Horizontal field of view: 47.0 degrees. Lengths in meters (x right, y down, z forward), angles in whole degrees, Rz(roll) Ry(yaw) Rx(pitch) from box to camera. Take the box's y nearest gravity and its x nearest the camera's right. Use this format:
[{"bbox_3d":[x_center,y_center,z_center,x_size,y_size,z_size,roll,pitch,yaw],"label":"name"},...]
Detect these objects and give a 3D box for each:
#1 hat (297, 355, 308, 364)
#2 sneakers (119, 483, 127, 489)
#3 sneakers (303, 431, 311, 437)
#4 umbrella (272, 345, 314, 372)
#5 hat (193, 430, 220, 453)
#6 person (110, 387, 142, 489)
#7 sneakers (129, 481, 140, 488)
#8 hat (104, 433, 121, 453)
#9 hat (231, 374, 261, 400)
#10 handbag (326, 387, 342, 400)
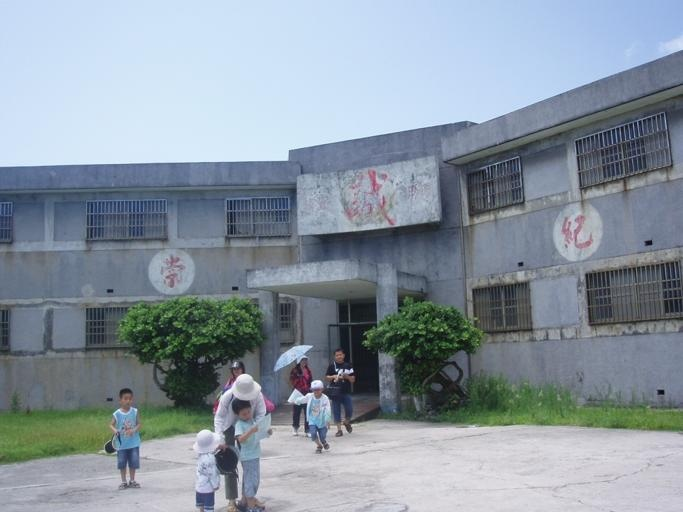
[{"bbox_3d":[-0.920,2.381,18.041,0.332,0.168,0.478,0,-18,-5],"label":"hat"},{"bbox_3d":[-3.890,4.118,14.034,0.138,0.109,0.149,0,-10,-19],"label":"sneakers"},{"bbox_3d":[-0.825,4.284,18.713,0.143,0.191,0.453,0,-18,-12],"label":"sneakers"},{"bbox_3d":[-1.111,2.288,17.864,0.759,0.554,2.012,-2,-10,-5],"label":"umbrella"},{"bbox_3d":[-2.112,2.989,12.558,0.340,0.208,0.385,12,41,24],"label":"hat"},{"bbox_3d":[-3.899,3.314,14.226,0.481,1.762,0.316,0,-9,-18],"label":"person"},{"bbox_3d":[-3.708,4.120,14.090,0.185,0.095,0.086,-2,-9,18],"label":"sneakers"},{"bbox_3d":[-4.145,3.400,14.192,0.230,0.299,0.369,0,-10,-20],"label":"hat"},{"bbox_3d":[-1.558,2.155,12.875,0.457,0.436,0.355,-2,-9,-7],"label":"hat"},{"bbox_3d":[-0.195,3.171,18.170,0.306,0.336,0.135,2,5,10],"label":"handbag"}]
